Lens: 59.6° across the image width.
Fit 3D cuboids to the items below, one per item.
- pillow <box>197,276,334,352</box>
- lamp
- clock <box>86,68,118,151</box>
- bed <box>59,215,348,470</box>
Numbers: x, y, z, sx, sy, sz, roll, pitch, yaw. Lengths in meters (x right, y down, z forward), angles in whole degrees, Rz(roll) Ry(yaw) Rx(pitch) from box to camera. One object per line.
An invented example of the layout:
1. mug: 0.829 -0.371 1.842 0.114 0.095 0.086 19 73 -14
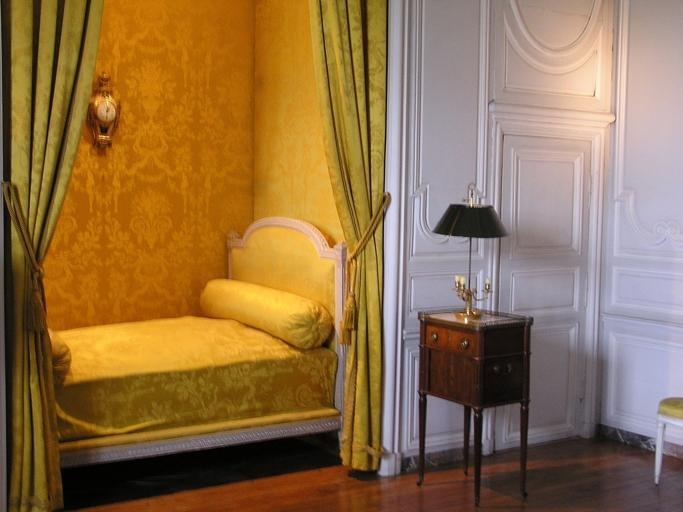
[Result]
1. pillow: -0.575 0.386 4.473 0.382 0.349 1.234 -34 25 -34
2. lamp: 0.811 0.003 3.759 0.440 0.801 0.469 3 3 38
3. clock: -1.910 -1.156 4.776 0.236 0.599 0.098 -3 7 -26
4. bed: -0.966 0.558 4.326 1.845 1.412 1.515 -2 6 -25
